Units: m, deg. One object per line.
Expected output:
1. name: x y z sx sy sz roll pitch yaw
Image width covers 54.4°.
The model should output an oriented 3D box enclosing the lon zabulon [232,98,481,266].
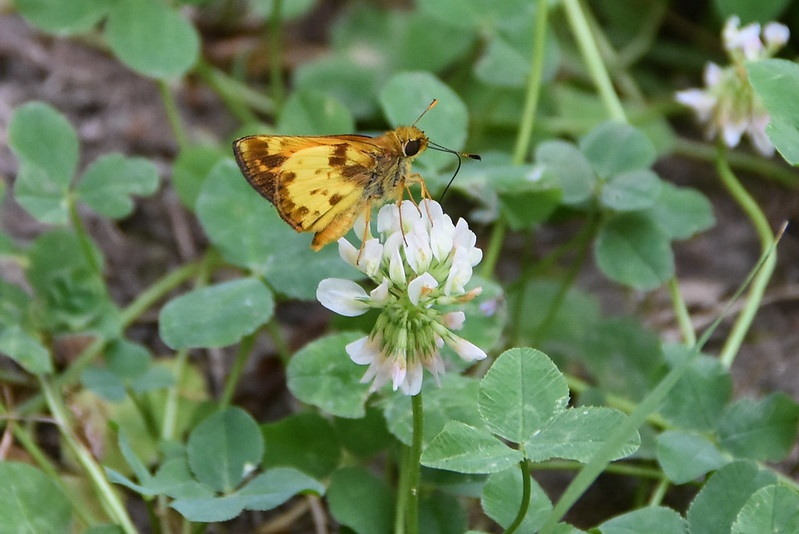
1. lon zabulon: -0.142 -0.200 1.974 0.575 0.350 0.305 -25 16 -11
